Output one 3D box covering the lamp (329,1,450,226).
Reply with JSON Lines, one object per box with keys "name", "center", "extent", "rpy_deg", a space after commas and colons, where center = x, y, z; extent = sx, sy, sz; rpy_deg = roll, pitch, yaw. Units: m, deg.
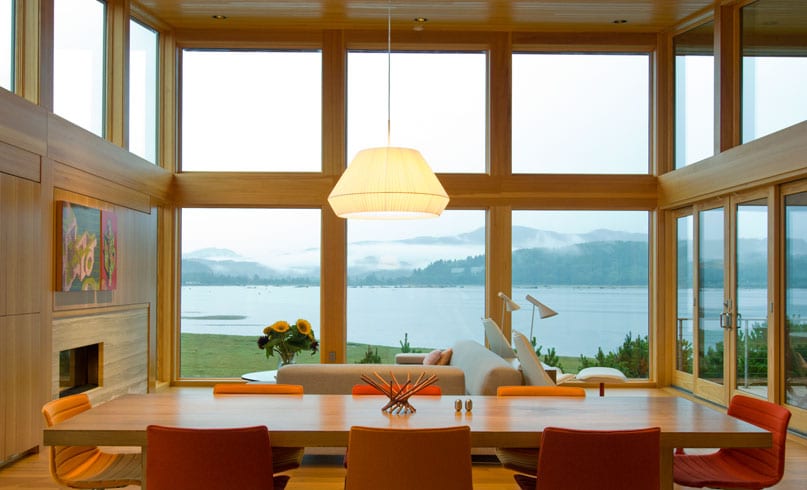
{"name": "lamp", "center": [-0.081, -1.192, 6.608], "extent": [1.054, 2.058, 2.410], "rpy_deg": [-1, -6, 3]}
